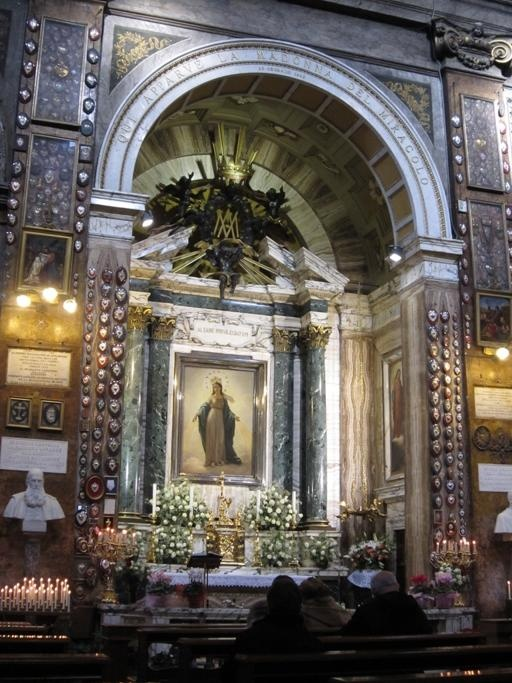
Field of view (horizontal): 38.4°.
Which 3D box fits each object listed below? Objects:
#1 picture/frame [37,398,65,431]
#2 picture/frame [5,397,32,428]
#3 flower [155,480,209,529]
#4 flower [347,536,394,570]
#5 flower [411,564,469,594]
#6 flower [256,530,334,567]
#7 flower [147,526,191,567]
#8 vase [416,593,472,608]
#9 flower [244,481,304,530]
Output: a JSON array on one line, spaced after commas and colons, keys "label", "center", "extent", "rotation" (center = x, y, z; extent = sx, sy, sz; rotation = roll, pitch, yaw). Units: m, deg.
[{"label": "picture/frame", "center": [-2.063, 0.744, 7.338], "extent": [0.315, 0.388, 0.054], "rotation": [8, -28, -25]}, {"label": "picture/frame", "center": [-2.349, 0.713, 7.231], "extent": [0.318, 0.390, 0.056], "rotation": [5, -30, -27]}, {"label": "flower", "center": [-0.980, 2.143, 9.485], "extent": [0.612, 0.512, 0.570], "rotation": [4, 0, 6]}, {"label": "flower", "center": [1.392, 2.647, 9.000], "extent": [0.403, 0.323, 0.549], "rotation": [2, -14, -11]}, {"label": "flower", "center": [1.922, 2.548, 7.760], "extent": [0.511, 0.272, 0.492], "rotation": [-1, -13, 9]}, {"label": "flower", "center": [0.565, 2.838, 9.958], "extent": [0.655, 0.501, 1.090], "rotation": [-12, -18, 38]}, {"label": "flower", "center": [-1.071, 2.570, 9.223], "extent": [0.500, 0.480, 0.417], "rotation": [1, -15, -7]}, {"label": "vase", "center": [1.899, 2.693, 7.518], "extent": [0.516, 0.150, 0.415], "rotation": [4, -26, -6]}, {"label": "flower", "center": [0.201, 2.278, 10.106], "extent": [0.708, 0.442, 0.668], "rotation": [5, -20, -4]}]
